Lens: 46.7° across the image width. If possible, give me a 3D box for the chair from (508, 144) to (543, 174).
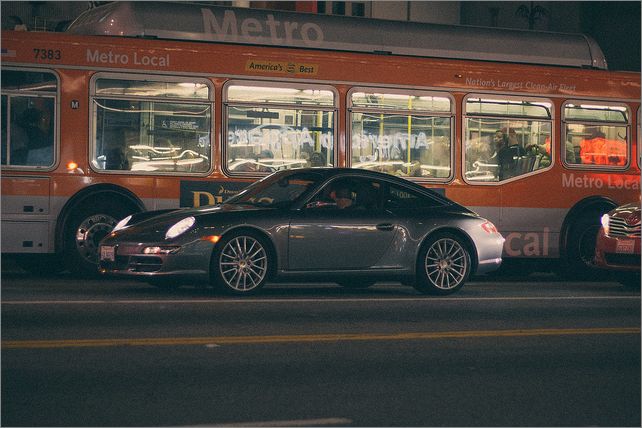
[{"bbox_3d":[4.376,-1.182,16.002,0.711,0.793,0.603,1,-2,12],"label":"chair"}]
